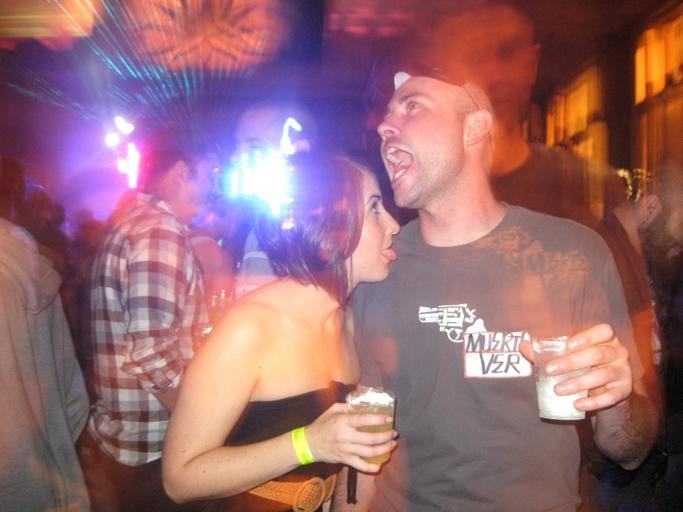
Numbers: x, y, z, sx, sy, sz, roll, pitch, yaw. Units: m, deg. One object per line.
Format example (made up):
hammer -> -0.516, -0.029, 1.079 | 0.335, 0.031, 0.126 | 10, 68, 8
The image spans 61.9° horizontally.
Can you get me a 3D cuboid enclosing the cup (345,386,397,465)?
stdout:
cup -> 0.194, 1.017, 3.785 | 0.289, 0.333, 0.245 | -6, -3, 17
